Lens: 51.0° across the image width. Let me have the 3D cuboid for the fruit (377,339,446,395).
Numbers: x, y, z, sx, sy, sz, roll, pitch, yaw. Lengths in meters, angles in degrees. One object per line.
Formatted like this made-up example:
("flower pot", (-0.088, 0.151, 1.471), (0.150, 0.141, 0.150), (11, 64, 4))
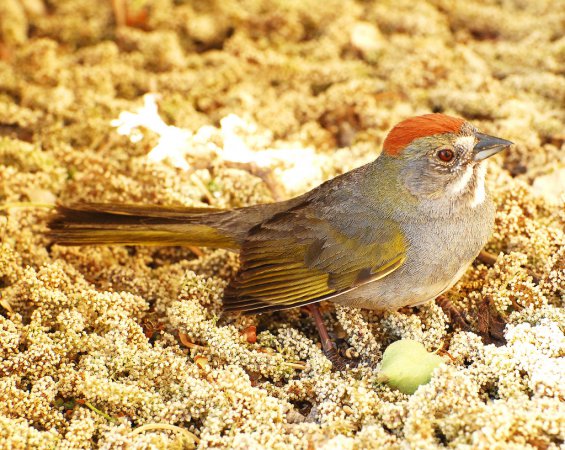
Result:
("fruit", (0.496, 0.534, 2.252), (0.268, 0.092, 0.263), (-9, 26, 29))
